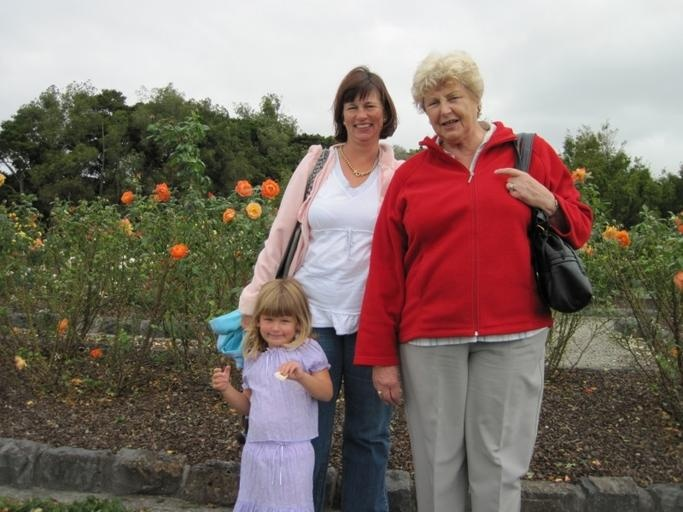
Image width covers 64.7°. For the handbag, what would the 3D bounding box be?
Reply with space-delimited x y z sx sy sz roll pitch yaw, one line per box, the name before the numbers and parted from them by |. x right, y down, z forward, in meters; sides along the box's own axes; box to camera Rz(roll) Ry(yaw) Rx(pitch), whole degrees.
handbag | 1.120 0.055 2.770 0.212 0.531 0.405 -16 -10 19

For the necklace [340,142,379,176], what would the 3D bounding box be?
necklace | 0.072 -0.566 3.229 0.156 0.228 0.054 -9 -2 6
